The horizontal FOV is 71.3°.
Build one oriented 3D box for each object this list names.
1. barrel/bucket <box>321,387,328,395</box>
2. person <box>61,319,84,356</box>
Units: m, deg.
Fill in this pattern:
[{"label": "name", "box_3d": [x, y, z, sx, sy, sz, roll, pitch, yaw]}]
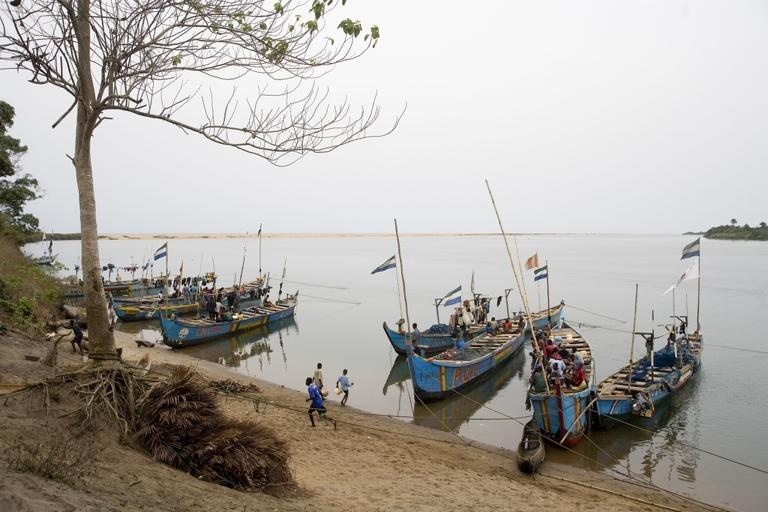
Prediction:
[{"label": "barrel/bucket", "box_3d": [-2.145, 4.929, 19.382, 0.299, 0.350, 0.391, 0, -10, -6]}, {"label": "person", "box_3d": [-12.818, 3.448, 22.365, 0.466, 1.247, 1.915, 2, 4, -29]}]
